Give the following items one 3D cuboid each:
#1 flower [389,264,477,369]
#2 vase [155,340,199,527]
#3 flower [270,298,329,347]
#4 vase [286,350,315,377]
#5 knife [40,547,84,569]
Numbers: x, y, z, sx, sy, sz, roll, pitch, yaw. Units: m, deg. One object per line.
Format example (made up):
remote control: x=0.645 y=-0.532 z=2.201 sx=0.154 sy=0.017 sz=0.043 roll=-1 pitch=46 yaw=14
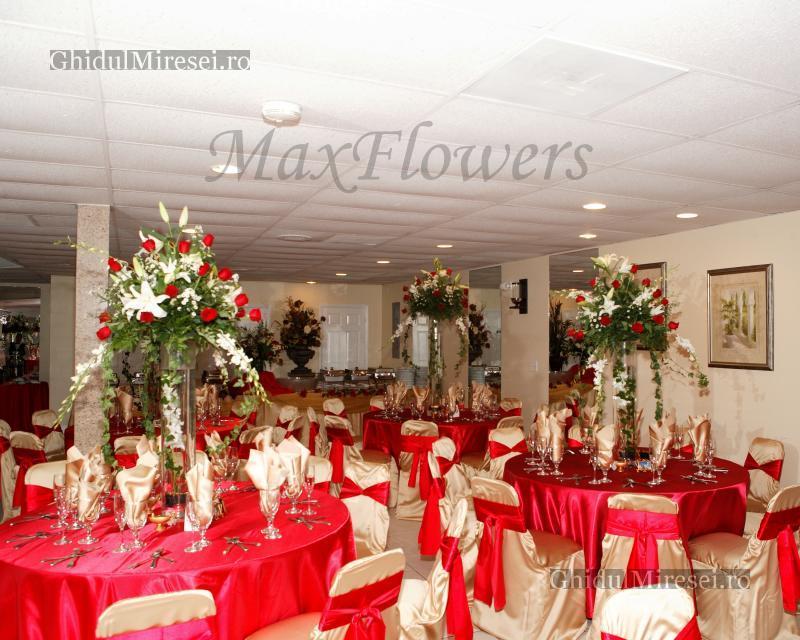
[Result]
flower: x=0.411 y=-0.142 z=7.123 sx=0.826 sy=1.098 sz=0.772 roll=-4 pitch=5 yaw=-12
vase: x=-1.109 y=0.579 z=2.575 sx=0.171 sy=0.907 sz=0.299 roll=2 pitch=-2 yaw=-23
flower: x=-2.592 y=0.300 z=12.980 sx=1.360 sy=1.501 sz=1.003 roll=3 pitch=-5 yaw=-28
vase: x=-2.442 y=1.051 z=12.598 sx=0.591 sy=0.620 sz=0.622 roll=1 pitch=-3 yaw=-3
knife: x=-1.469 y=1.041 z=2.277 sx=0.150 sy=0.013 sz=0.180 roll=3 pitch=-4 yaw=-8
